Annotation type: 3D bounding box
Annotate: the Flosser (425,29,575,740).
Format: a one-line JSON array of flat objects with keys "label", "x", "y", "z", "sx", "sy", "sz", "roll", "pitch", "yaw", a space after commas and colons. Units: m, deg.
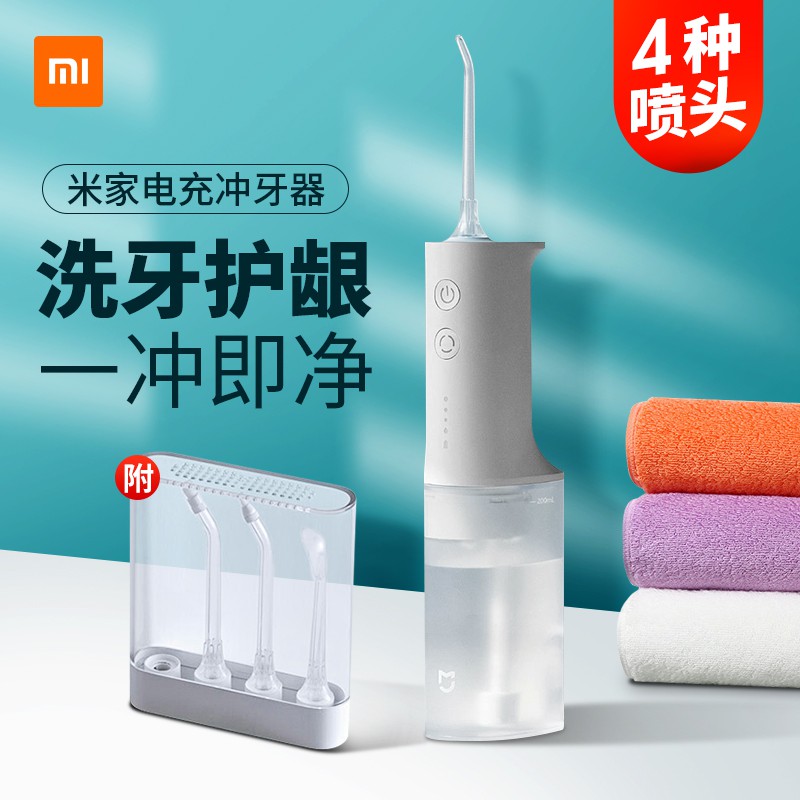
[{"label": "Flosser", "x": 0.066, "y": 0.002, "z": 0.925, "sx": 0.144, "sy": 0.610, "sz": 0.150, "roll": 4, "pitch": 4, "yaw": 28}]
